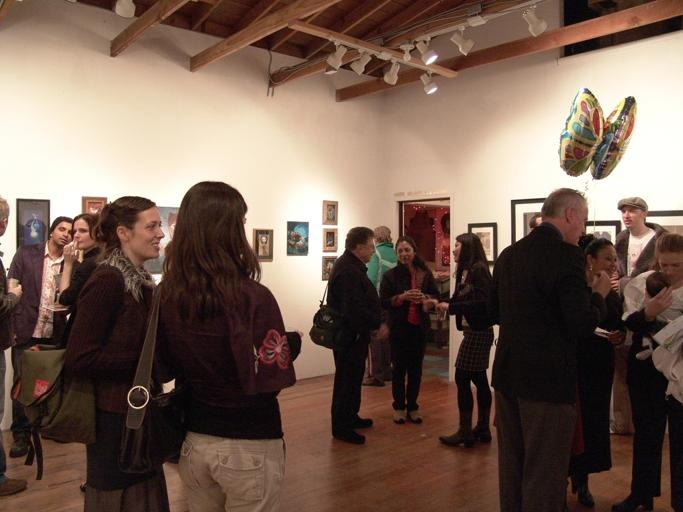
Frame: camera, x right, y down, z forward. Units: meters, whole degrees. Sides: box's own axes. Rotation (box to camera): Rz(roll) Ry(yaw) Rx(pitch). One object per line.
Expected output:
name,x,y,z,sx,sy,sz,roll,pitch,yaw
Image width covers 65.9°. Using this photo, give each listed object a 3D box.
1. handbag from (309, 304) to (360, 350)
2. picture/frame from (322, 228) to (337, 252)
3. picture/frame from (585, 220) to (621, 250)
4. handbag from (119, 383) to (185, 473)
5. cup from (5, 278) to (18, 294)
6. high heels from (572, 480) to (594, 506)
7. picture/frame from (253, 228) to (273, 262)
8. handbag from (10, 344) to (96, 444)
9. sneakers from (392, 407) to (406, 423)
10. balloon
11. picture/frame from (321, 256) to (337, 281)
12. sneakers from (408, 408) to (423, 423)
handbag,-0.099,0.662,4.886,0.390,0.388,0.210,8,-6,31
picture/frame,-0.182,-0.235,7.552,0.323,0.419,0.044,3,-3,-39
picture/frame,2.537,-0.211,5.082,0.020,0.306,0.306,0,5,-39
handbag,-0.849,0.750,2.384,0.223,0.394,0.399,10,8,-9
cup,-2.304,0.215,3.674,0.062,0.080,0.059,-16,-34,-12
high heels,1.785,1.770,3.903,0.081,0.168,0.241,-1,-10,-12
picture/frame,-1.023,-0.150,6.926,0.281,0.397,0.023,2,-3,-39
handbag,-1.377,0.649,2.520,0.367,0.437,0.273,-7,-18,35
sneakers,0.604,1.670,5.505,0.107,0.107,0.250,-1,-12,5
balloon,2.414,-1.144,5.030,0.731,0.863,0.392,11,14,-11
picture/frame,-0.172,0.159,6.668,0.334,0.417,0.029,2,-3,-42
sneakers,0.778,1.688,5.518,0.073,0.075,0.185,0,-6,-14
